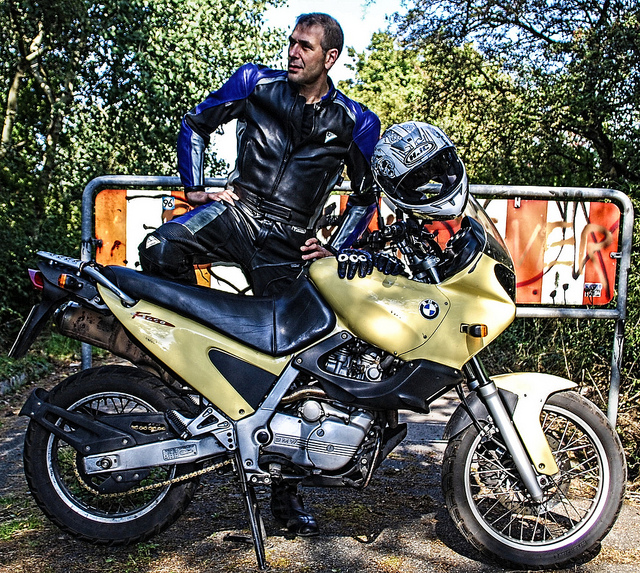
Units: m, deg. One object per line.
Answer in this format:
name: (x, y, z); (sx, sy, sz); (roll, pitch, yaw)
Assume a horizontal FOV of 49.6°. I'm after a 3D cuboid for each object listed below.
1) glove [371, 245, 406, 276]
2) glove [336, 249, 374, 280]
glove: (0.340, -0.131, 3.509); (0.158, 0.132, 0.057); (4, -6, 20)
glove: (0.173, -0.116, 3.494); (0.176, 0.148, 0.049); (3, -11, 5)
